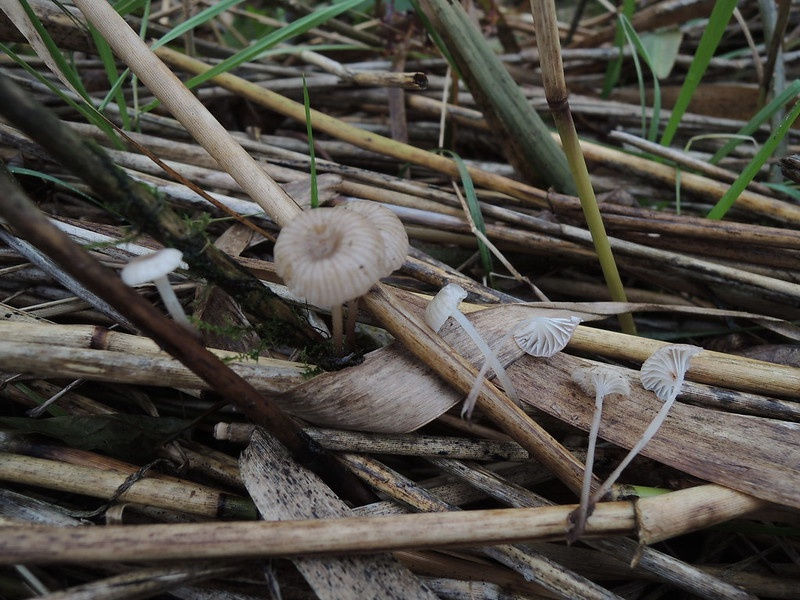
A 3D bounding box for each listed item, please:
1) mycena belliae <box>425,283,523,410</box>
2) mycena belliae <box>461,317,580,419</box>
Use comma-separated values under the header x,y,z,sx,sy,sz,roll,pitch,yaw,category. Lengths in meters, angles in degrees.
x,y,z,sx,sy,sz,roll,pitch,yaw,category
0.262,0.122,2.011,0.193,0.169,0.410,-39,26,23,mycena belliae
0.361,0.167,2.130,0.153,0.152,0.503,42,37,22,mycena belliae
